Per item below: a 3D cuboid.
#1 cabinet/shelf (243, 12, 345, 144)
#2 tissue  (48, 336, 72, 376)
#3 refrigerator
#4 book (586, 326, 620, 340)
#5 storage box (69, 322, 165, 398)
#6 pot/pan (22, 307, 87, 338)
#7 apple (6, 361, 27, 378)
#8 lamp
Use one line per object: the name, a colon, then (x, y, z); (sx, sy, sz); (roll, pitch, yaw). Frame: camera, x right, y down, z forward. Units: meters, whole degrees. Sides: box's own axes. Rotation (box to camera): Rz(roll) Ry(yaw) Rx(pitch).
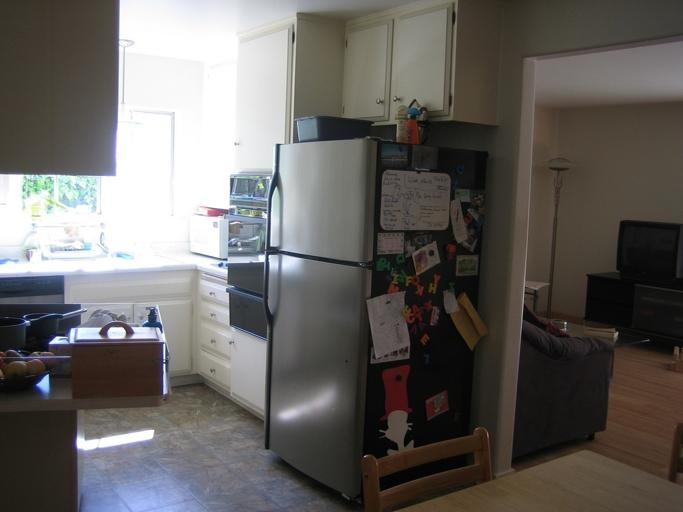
cabinet/shelf: (-0.312, -1.286, 3.880); (0.339, 0.941, 0.949); (-1, 7, -31)
tissue : (-1.172, 0.422, 2.271); (0.084, 0.156, 0.156); (1, 2, -31)
refrigerator: (0.146, 0.347, 3.386); (1.388, 2.114, 0.815); (4, 10, 12)
book: (2.181, 0.634, 4.517); (0.132, 0.050, 0.130); (0, 7, -19)
storage box: (-0.947, 0.421, 2.307); (0.381, 0.293, 0.279); (1, 4, -23)
pot/pan: (-1.388, 0.314, 2.612); (0.203, 0.081, 0.123); (-1, 1, -30)
apple: (-1.284, 0.445, 2.170); (0.063, 0.068, 0.060); (-2, 3, 8)
lamp: (2.778, -0.248, 7.193); (0.272, 2.093, 0.688); (6, 10, 21)
